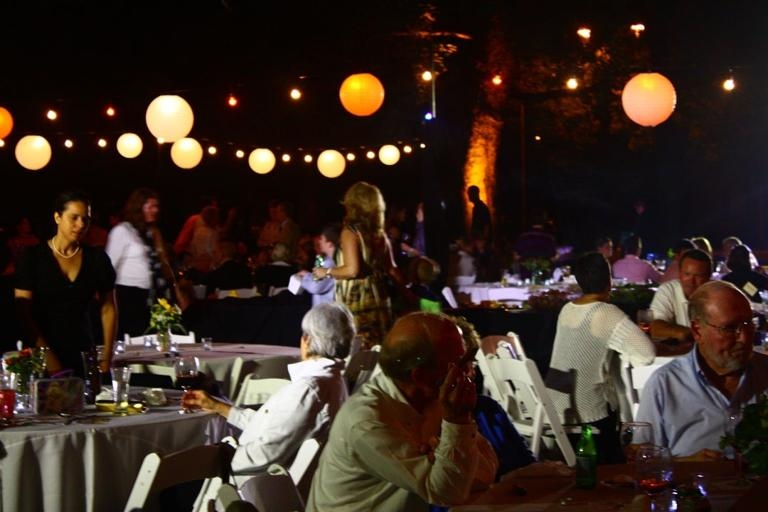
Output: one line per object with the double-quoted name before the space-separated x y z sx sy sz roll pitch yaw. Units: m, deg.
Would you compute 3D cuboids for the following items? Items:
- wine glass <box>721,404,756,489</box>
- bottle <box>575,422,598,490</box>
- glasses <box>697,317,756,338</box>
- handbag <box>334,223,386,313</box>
"wine glass" 1.509 0.768 2.711 0.135 0.281 0.125 -1 24 17
"bottle" 0.861 0.851 2.735 0.088 0.251 0.180 -11 -13 27
"glasses" 1.670 0.341 3.099 0.236 0.089 0.077 -5 -11 -5
"handbag" -0.332 0.174 5.477 0.425 0.751 0.616 -2 2 -11
